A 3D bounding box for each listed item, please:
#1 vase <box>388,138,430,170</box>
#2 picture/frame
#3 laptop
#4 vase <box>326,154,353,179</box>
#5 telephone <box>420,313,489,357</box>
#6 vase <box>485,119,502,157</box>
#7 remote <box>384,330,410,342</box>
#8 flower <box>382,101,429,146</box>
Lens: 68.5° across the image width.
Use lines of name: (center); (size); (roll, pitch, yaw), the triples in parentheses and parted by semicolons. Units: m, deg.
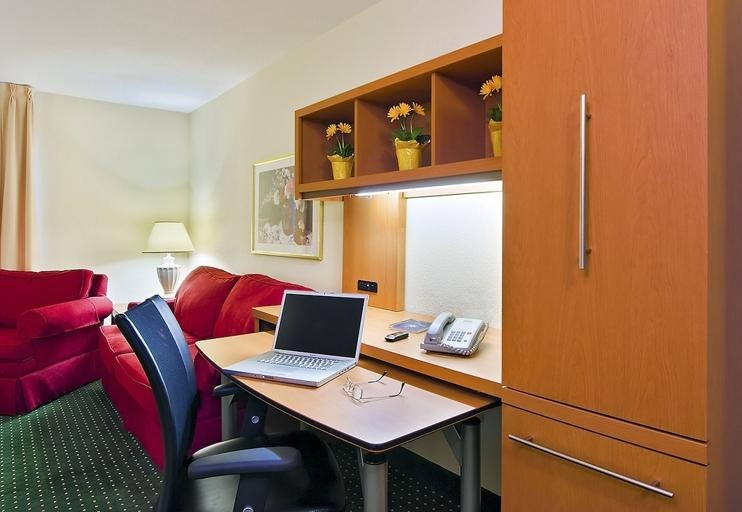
vase: (0.202, -0.505, 2.822); (0.170, 0.154, 0.171); (6, 9, 44)
picture/frame: (-0.620, -0.351, 4.044); (0.030, 0.627, 0.840); (0, 3, -32)
laptop: (-0.284, 0.300, 2.596); (0.469, 0.299, 0.446); (2, 4, 30)
vase: (-0.174, -0.502, 3.152); (0.139, 0.131, 0.142); (-1, 3, -17)
telephone: (0.397, 0.349, 2.555); (0.293, 0.100, 0.299); (-26, 25, -35)
vase: (0.575, -0.533, 2.483); (0.050, 0.175, 0.109); (-2, 5, -4)
remote: (0.132, 0.396, 2.727); (0.049, 0.024, 0.097); (6, 8, 43)
flower: (0.208, -0.722, 2.946); (0.262, 0.277, 0.256); (-1, 11, 8)
